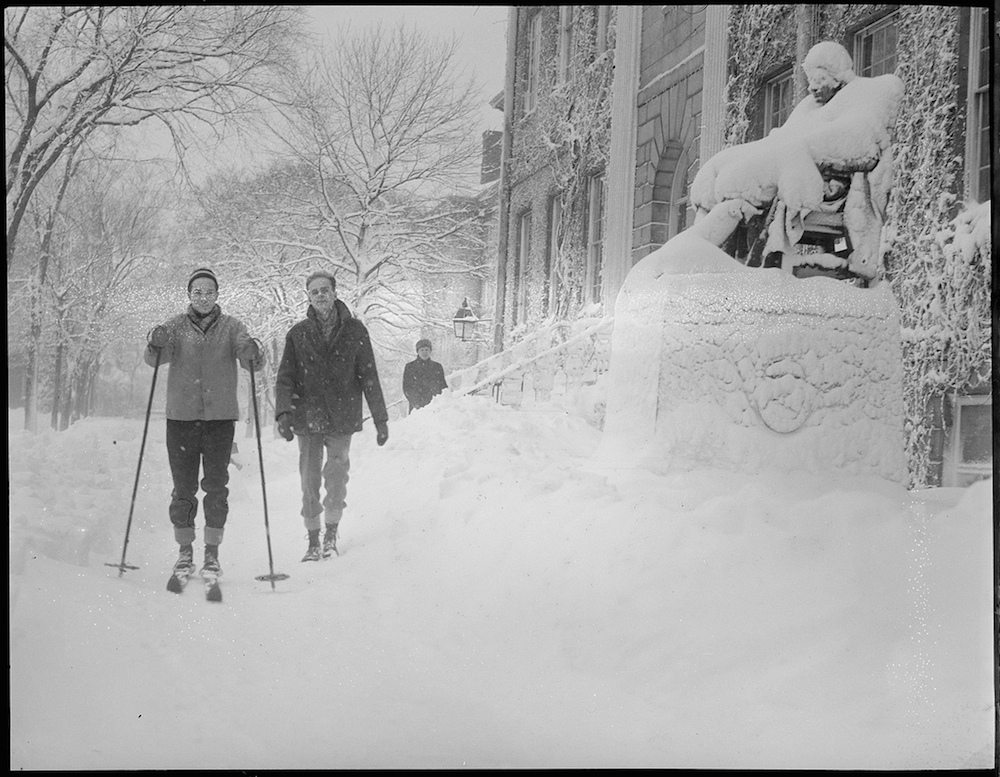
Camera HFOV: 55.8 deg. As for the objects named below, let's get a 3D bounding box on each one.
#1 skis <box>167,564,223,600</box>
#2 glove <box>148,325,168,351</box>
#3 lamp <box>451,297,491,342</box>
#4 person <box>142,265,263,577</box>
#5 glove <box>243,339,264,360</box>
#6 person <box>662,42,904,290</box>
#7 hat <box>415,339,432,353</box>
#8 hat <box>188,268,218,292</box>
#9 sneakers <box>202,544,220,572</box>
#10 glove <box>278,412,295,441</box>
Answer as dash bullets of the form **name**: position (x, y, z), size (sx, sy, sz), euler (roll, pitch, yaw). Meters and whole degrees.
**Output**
- **skis**: position (-1.613, 1.033, 5.076), size (0.345, 0.171, 0.126), euler (21, -12, -14)
- **glove**: position (-1.843, -0.279, 5.098), size (0.101, 0.132, 0.071), euler (1, -4, -17)
- **lamp**: position (-0.173, -0.387, 5.379), size (0.189, 0.308, 0.182), euler (1, 8, 9)
- **person**: position (-1.608, 0.169, 5.100), size (0.607, 1.654, 0.175), euler (1, -4, -16)
- **glove**: position (-1.337, -0.212, 5.119), size (0.084, 0.122, 0.031), euler (-18, 11, -20)
- **person**: position (1.705, -1.296, 5.465), size (1.050, 1.284, 1.078), euler (4, 9, 24)
- **hat**: position (-0.430, -0.241, 5.326), size (0.063, 0.053, 0.072), euler (4, -8, -31)
- **hat**: position (-1.625, -0.600, 5.151), size (0.112, 0.127, 0.080), euler (-4, 37, -5)
- **sneakers**: position (-1.537, 0.904, 5.055), size (0.070, 0.146, 0.143), euler (0, 42, -7)
- **glove**: position (-1.160, 0.203, 5.135), size (0.086, 0.131, 0.040), euler (-19, 11, -35)
